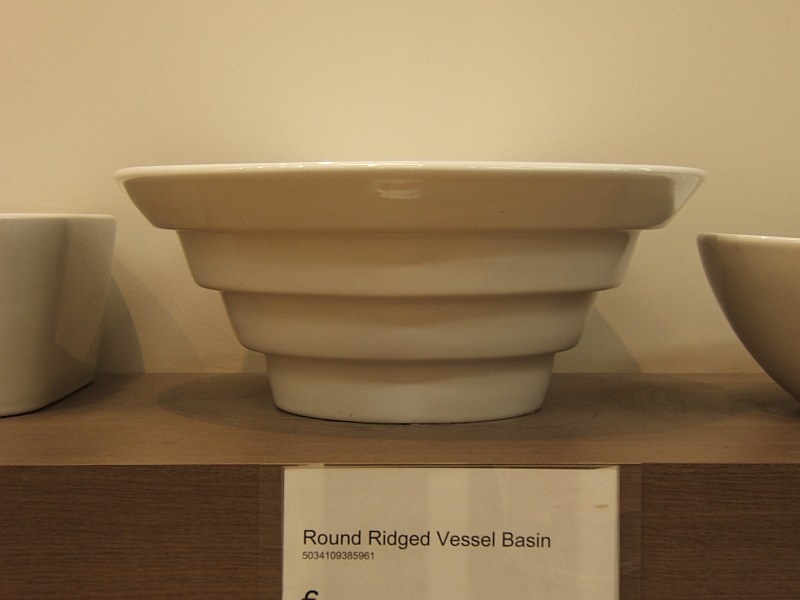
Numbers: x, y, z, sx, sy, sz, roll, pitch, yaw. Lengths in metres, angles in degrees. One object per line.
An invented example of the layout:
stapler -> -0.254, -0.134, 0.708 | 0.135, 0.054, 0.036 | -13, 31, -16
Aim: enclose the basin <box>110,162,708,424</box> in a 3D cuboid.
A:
basin -> 0.015, 0.013, 1.203 | 0.645, 0.391, 0.136 | 0, 92, 0
